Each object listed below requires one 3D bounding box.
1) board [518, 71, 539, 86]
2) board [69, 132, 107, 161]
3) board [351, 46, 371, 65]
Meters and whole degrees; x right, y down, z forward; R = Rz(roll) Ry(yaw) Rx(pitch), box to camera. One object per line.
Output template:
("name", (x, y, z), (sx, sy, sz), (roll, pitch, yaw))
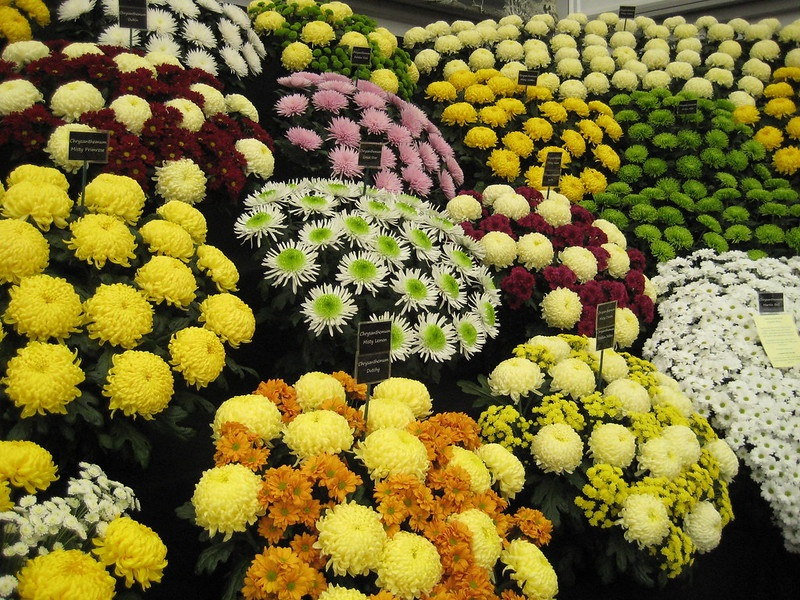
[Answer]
("board", (0.968, -1.680, 4.891), (0.201, 0.119, 0.014), (0, 4, -18))
("board", (-1.336, -0.658, 2.757), (0.147, 0.109, 0.014), (-2, 8, -23))
("board", (-0.256, -1.607, 4.247), (0.145, 0.116, 0.015), (-1, 11, -2))
